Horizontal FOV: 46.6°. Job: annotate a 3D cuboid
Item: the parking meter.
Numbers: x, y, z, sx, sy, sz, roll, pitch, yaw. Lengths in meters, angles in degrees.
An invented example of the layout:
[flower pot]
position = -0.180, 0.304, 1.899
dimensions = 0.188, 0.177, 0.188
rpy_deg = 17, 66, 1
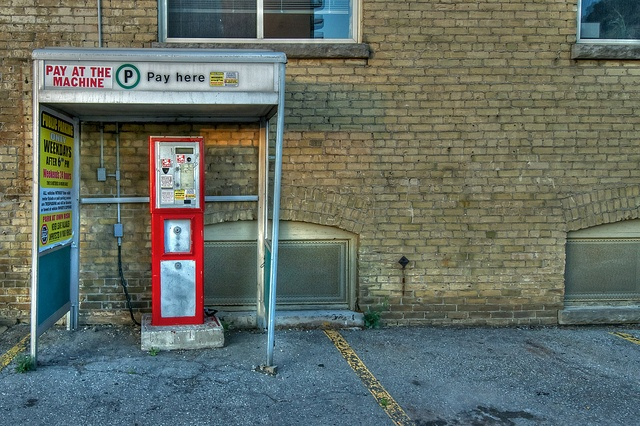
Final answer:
[parking meter]
position = -2.030, 0.262, 10.508
dimensions = 0.720, 2.631, 0.524
rpy_deg = -1, 15, -10
